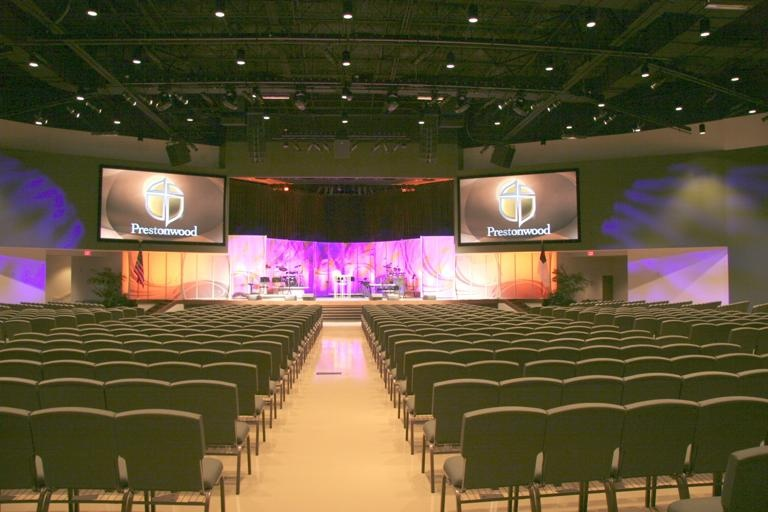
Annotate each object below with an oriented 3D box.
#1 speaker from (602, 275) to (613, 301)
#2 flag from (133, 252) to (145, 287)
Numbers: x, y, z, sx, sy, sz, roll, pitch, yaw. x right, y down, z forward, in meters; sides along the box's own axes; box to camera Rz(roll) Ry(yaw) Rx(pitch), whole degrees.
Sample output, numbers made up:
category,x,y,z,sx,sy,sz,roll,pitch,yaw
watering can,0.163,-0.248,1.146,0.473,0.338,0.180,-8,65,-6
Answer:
category,x,y,z,sx,sy,sz,roll,pitch,yaw
speaker,9.703,1.391,25.958,0.495,1.041,0.295,3,11,15
flag,-9.855,0.535,24.152,0.420,1.585,1.444,-4,11,-24
